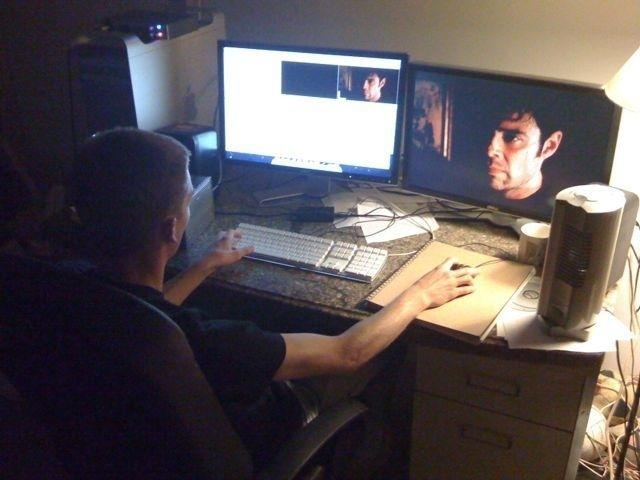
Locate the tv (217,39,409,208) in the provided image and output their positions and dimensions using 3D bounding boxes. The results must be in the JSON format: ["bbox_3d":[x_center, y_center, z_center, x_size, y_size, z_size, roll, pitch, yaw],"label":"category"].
[{"bbox_3d":[-0.018,-0.404,1.813,0.526,0.462,0.181,8,32,11],"label":"tv"}]

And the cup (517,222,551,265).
[{"bbox_3d":[0.613,0.010,1.594,0.104,0.117,0.106,0,22,0],"label":"cup"}]

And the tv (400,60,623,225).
[{"bbox_3d":[0.580,-0.305,1.587,0.473,0.321,0.066,18,30,28],"label":"tv"}]
